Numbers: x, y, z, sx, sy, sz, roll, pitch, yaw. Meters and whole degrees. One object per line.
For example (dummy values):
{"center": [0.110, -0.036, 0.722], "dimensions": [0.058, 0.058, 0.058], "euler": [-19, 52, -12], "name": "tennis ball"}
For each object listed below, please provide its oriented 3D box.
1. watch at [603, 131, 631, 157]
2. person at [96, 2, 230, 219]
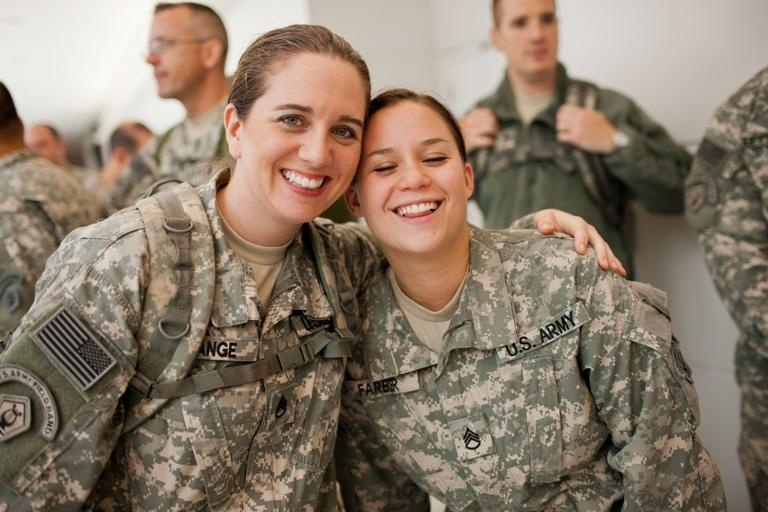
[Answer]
{"center": [1.019, -0.485, 3.222], "dimensions": [0.065, 0.087, 0.043], "euler": [31, 8, 27], "name": "watch"}
{"center": [-1.175, -0.854, 4.064], "dimensions": [0.496, 0.815, 1.119], "euler": [-6, 18, -26], "name": "person"}
